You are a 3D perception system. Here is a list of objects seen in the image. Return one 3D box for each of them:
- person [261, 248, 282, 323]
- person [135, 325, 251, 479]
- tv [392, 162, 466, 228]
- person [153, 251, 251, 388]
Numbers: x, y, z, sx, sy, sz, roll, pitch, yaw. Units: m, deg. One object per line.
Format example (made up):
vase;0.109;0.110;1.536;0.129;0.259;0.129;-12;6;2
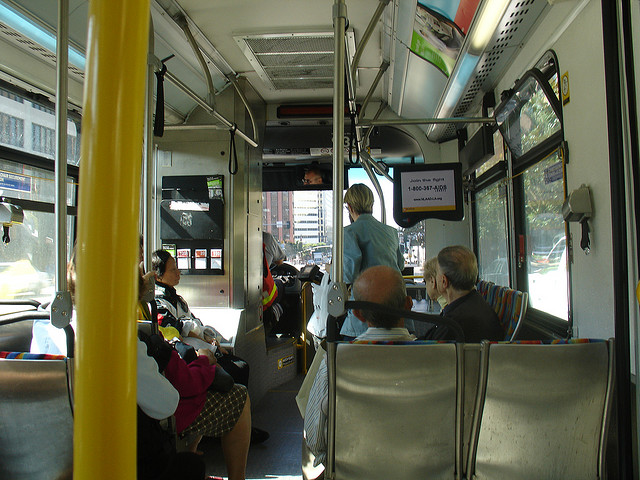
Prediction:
person;-0.528;0.485;5.845;0.199;0.802;0.727;-2;-3;-2
person;-0.714;1.018;3.253;0.409;1.096;1.041;-3;-3;14
tv;0.754;-0.327;3.756;0.559;0.609;0.087;0;0;6
person;-0.873;0.699;3.908;0.664;1.312;0.498;-8;-4;-13
